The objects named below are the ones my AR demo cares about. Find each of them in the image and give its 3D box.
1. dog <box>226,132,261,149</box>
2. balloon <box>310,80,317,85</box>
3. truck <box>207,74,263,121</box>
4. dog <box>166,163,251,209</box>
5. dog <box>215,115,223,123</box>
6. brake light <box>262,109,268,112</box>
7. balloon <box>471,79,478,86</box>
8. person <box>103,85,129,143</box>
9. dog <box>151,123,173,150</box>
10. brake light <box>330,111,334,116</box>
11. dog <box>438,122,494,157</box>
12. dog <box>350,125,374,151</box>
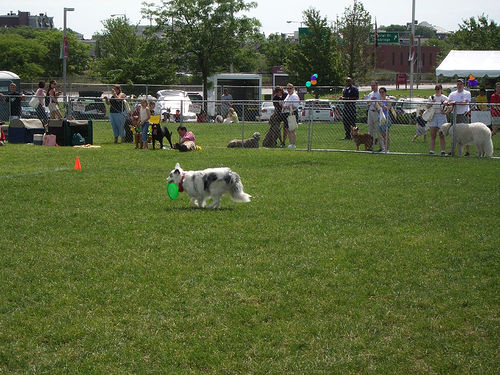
[{"bbox_3d":[-0.158,-1.603,22.234,1.084,0.621,3.105,1,12,2],"label":"dog"},{"bbox_3d":[4.625,-7.586,45.899,0.287,0.237,0.294,1,9,42],"label":"balloon"},{"bbox_3d":[-0.950,-5.570,41.145,3.591,3.325,3.732,0,0,-21],"label":"truck"},{"bbox_3d":[-0.853,-0.040,12.595,1.703,0.984,0.547,-3,-1,7],"label":"dog"},{"bbox_3d":[-1.563,-3.509,32.513,0.354,0.355,0.575,0,12,-3],"label":"dog"},{"bbox_3d":[0.782,-4.039,33.479,0.195,0.117,0.283,0,0,0],"label":"brake light"},{"bbox_3d":[12.355,-5.719,34.621,0.340,0.370,0.337,-1,-1,7],"label":"balloon"},{"bbox_3d":[-4.666,-2.473,22.160,0.752,2.364,0.714,2,13,-12],"label":"person"},{"bbox_3d":[-2.958,-1.663,20.882,0.635,0.811,0.973,6,13,25],"label":"dog"},{"bbox_3d":[3.063,-2.742,23.643,0.107,0.216,0.110,-2,1,-15],"label":"brake light"},{"bbox_3d":[6.250,-1.350,18.115,1.356,1.000,0.536,5,12,23],"label":"dog"},{"bbox_3d":[3.609,-1.505,20.303,0.484,0.706,1.117,-1,12,-7],"label":"dog"}]
